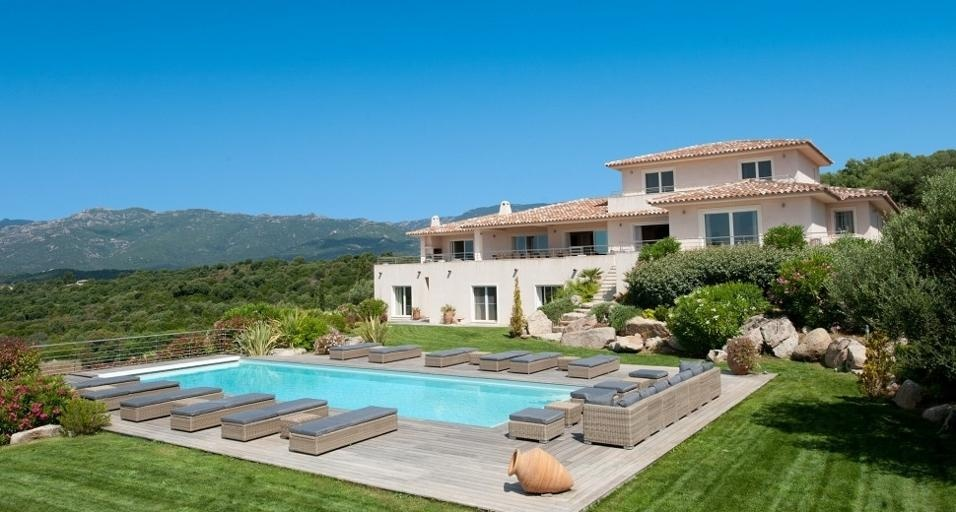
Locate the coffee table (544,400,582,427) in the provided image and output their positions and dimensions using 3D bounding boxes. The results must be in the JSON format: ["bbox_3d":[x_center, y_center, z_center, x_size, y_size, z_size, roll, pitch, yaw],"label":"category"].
[{"bbox_3d":[4.121,7.356,28.312,1.211,0.688,1.193,-2,-1,32],"label":"coffee table"}]

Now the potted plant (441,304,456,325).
[{"bbox_3d":[-2.795,4.935,51.825,1.323,1.590,0.783,-3,-2,17],"label":"potted plant"}]

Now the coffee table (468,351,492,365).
[{"bbox_3d":[-0.097,6.284,36.282,0.841,0.521,1.091,-1,0,20],"label":"coffee table"}]
